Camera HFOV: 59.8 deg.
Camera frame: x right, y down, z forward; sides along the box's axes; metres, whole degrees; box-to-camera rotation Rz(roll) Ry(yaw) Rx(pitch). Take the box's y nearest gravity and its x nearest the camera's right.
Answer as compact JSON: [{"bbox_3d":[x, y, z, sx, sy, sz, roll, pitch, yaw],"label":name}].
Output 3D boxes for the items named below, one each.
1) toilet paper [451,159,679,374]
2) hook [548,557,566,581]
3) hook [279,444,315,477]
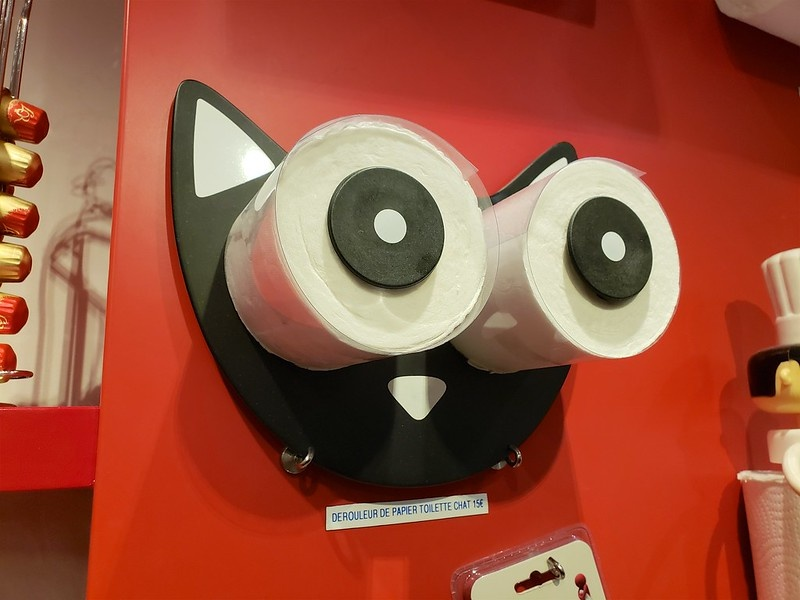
[{"bbox_3d":[0.250,-0.038,1.127,0.275,0.322,0.322,21,-10,-20],"label":"toilet paper"},{"bbox_3d":[0.242,0.418,1.087,0.022,0.035,0.009,-19,-5,37],"label":"hook"},{"bbox_3d":[-0.157,0.241,1.040,0.040,0.045,0.044,-32,7,-38],"label":"hook"}]
